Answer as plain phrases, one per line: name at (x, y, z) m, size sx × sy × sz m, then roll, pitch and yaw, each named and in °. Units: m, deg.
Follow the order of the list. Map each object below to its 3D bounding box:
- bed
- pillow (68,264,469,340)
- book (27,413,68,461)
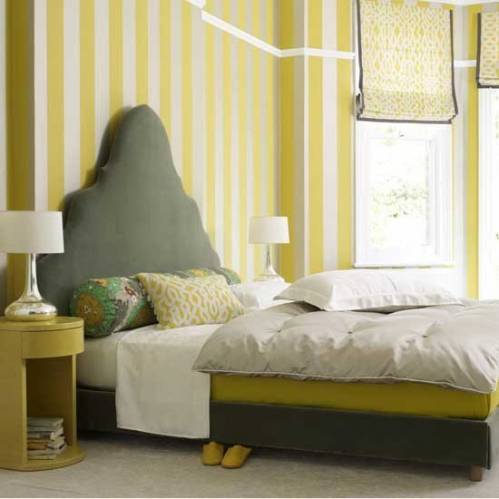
bed at (0.075, 0.020, 3.492) m, size 1.680 × 1.887 × 1.582 m, roll -1°, pitch -2°, yaw 22°
pillow at (0.058, 0.237, 3.437) m, size 1.974 × 0.267 × 0.738 m, roll -1°, pitch 6°, yaw -13°
book at (-0.859, 0.787, 2.642) m, size 0.117 × 0.094 × 0.174 m, roll 1°, pitch 3°, yaw -4°
